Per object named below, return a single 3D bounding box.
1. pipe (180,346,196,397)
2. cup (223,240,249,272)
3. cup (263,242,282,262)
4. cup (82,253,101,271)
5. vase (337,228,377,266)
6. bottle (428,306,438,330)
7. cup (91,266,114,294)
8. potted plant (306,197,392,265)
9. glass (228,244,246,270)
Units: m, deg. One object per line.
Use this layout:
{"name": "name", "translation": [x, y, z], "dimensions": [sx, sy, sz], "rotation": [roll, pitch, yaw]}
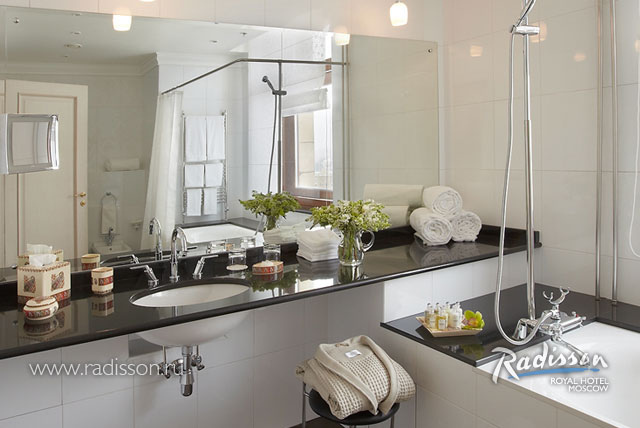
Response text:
{"name": "pipe", "translation": [-0.708, 0.836, 2.447], "dimensions": [0.091, 0.265, 0.088], "rotation": [5, -11, -39]}
{"name": "cup", "translation": [-0.477, 0.248, 2.775], "dimensions": [0.204, 0.197, 0.119], "rotation": [1, -1, -8]}
{"name": "cup", "translation": [-0.294, 0.240, 2.883], "dimensions": [0.107, 0.114, 0.107], "rotation": [0, 0, 0]}
{"name": "cup", "translation": [-1.247, 0.263, 2.541], "dimensions": [0.097, 0.109, 0.097], "rotation": [2, 1, 0]}
{"name": "vase", "translation": [0.223, 0.191, 2.807], "dimensions": [0.243, 0.237, 0.162], "rotation": [-1, 3, 7]}
{"name": "bottle", "translation": [0.622, 0.573, 2.534], "dimensions": [0.038, 0.096, 0.090], "rotation": [0, 14, -5]}
{"name": "cup", "translation": [-1.130, 0.334, 2.380], "dimensions": [0.127, 0.162, 0.120], "rotation": [1, 3, 0]}
{"name": "potted plant", "translation": [0.186, 0.063, 2.915], "dimensions": [0.452, 0.391, 0.444], "rotation": [-1, 3, -20]}
{"name": "glass", "translation": [-0.494, 0.266, 2.749], "dimensions": [0.121, 0.117, 0.117], "rotation": [0, 3, -2]}
